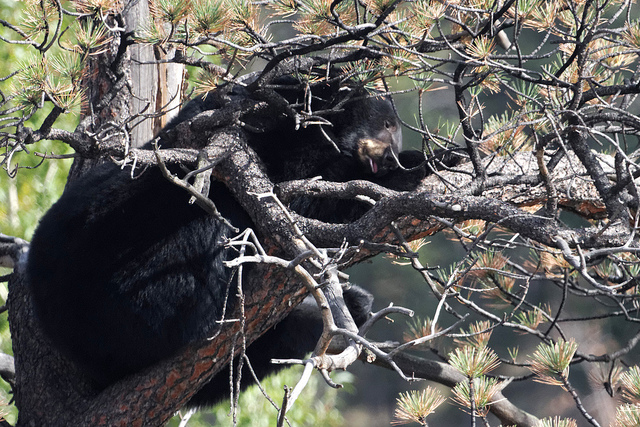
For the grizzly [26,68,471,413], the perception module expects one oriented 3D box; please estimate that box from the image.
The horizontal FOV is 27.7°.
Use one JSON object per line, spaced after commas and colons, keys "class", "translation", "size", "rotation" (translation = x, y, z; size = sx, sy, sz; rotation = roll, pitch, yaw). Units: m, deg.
{"class": "grizzly", "translation": [-0.936, 0.486, 10.859], "size": [3.800, 3.173, 2.798], "rotation": [-5, 19, -20]}
